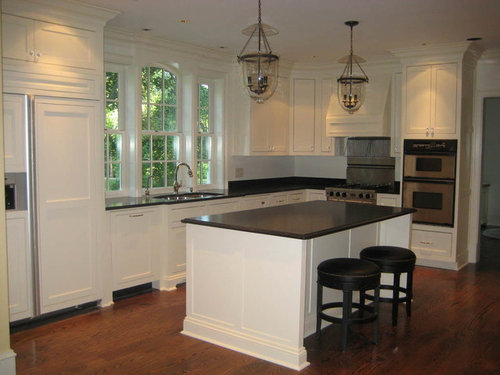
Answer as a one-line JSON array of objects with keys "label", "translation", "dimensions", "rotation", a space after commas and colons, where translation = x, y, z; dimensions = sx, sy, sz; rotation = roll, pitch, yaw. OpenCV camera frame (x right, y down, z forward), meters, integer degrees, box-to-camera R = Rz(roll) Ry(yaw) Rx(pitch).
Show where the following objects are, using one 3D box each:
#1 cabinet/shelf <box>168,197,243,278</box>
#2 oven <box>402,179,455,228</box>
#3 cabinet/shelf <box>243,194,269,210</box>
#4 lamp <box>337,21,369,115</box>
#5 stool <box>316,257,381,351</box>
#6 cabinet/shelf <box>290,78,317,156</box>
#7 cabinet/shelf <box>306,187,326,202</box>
[{"label": "cabinet/shelf", "translation": [-0.496, 0.536, 4.170], "dimensions": [0.315, 0.821, 0.982], "rotation": [2, 4, 33]}, {"label": "oven", "translation": [2.651, 0.147, 6.012], "dimensions": [0.727, 0.687, 0.528], "rotation": [5, 13, 41]}, {"label": "cabinet/shelf", "translation": [0.088, 0.197, 5.974], "dimensions": [0.075, 0.185, 0.538], "rotation": [6, 9, 38]}, {"label": "lamp", "translation": [1.366, -1.462, 5.466], "dimensions": [0.456, 1.044, 2.741], "rotation": [2, 7, 15]}, {"label": "stool", "translation": [0.865, 1.020, 3.611], "dimensions": [0.565, 0.658, 0.530], "rotation": [2, -1, -17]}, {"label": "cabinet/shelf", "translation": [0.900, -1.200, 6.783], "dimensions": [0.348, 1.210, 0.096], "rotation": [0, 8, -3]}, {"label": "cabinet/shelf", "translation": [1.083, 0.115, 6.711], "dimensions": [0.301, 0.281, 0.202], "rotation": [-1, 0, 16]}]
